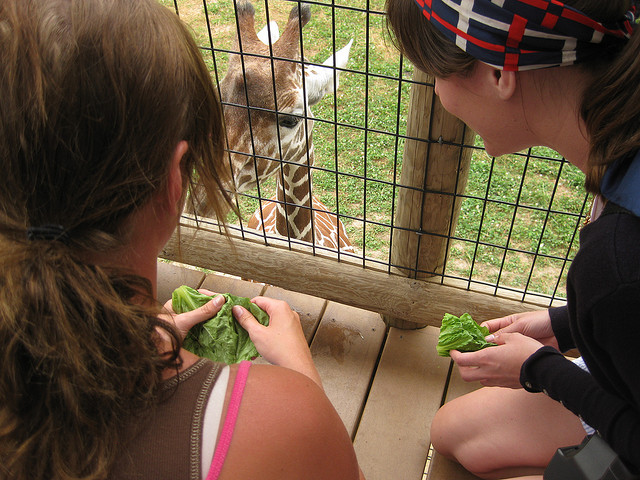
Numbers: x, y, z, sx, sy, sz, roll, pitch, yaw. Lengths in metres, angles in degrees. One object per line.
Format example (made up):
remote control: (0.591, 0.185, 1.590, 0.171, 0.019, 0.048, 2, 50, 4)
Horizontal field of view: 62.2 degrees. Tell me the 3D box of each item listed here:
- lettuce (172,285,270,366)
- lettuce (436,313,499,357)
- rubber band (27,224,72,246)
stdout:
lettuce: (-0.347, 0.304, 1.846, 0.326, 0.190, 0.324, 22, 32, 38)
lettuce: (0.557, 0.385, 2.013, 0.211, 0.145, 0.157, 12, 36, 19)
rubber band: (-0.549, -0.014, 1.063, 0.049, 0.022, 0.041, 6, 4, 0)
